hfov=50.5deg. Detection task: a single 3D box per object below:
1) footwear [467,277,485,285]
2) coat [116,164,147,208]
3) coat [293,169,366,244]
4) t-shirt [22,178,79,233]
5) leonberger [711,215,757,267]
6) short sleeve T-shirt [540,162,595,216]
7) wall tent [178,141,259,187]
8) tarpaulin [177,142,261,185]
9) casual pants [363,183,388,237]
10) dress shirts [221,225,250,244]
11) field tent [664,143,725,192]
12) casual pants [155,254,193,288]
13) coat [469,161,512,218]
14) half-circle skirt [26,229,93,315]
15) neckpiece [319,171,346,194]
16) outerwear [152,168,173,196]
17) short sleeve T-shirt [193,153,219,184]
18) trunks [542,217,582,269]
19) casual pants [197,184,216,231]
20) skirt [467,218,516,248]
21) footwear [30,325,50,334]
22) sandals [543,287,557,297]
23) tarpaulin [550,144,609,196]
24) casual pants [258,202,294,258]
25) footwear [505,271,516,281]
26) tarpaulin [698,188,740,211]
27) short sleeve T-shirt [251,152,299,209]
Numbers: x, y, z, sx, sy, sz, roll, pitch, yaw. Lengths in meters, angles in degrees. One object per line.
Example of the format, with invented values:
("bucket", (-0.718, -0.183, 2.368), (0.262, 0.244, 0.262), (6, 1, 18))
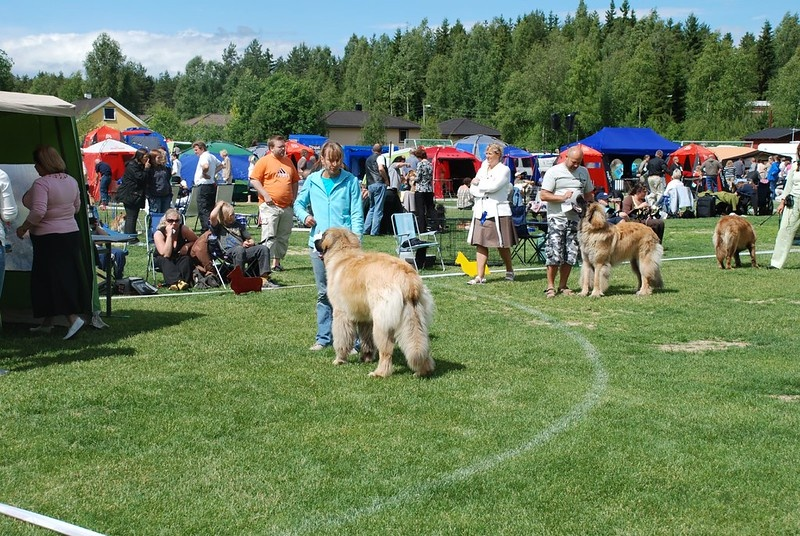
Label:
("footwear", (1.290, 0.229, 14.597), (0.336, 0.141, 0.123), (3, -3, -22))
("coat", (-5.704, -1.748, 18.114), (0.608, 1.012, 0.442), (-4, 14, -22))
("coat", (-0.873, -0.683, 10.393), (0.925, 0.937, 0.540), (0, 10, 6))
("t-shirt", (-4.301, -0.792, 10.467), (0.454, 0.754, 0.847), (3, 11, 16))
("leonberger", (6.551, -0.486, 16.490), (0.467, 0.973, 1.872), (3, 5, 38))
("short sleeve T-shirt", (2.595, -1.215, 13.312), (0.776, 0.847, 0.448), (2, 13, 4))
("wall tent", (-6.975, -4.503, 34.654), (3.360, 1.503, 3.535), (-1, 7, 1))
("tarpaulin", (-7.160, -4.557, 33.725), (2.712, 0.916, 2.558), (38, 23, 31))
("casual pants", (-0.630, -1.475, 20.881), (0.497, 1.324, 0.390), (1, -1, 36))
("dress shirts", (-2.819, -0.559, 14.416), (0.287, 0.280, 0.156), (1, -35, -39))
("field tent", (13.723, -5.173, 39.981), (2.473, 1.663, 2.598), (-13, 18, -2))
("casual pants", (-3.715, 0.062, 13.897), (0.618, 0.480, 0.494), (-1, 14, -8))
("coat", (1.460, -1.272, 13.854), (0.674, 0.959, 0.429), (11, 17, 37))
("half-circle skirt", (-4.353, 0.000, 10.624), (0.756, 1.077, 0.648), (0, 0, -1))
("neckpiece", (-0.862, -1.022, 10.256), (0.174, 0.186, 0.238), (2, -9, -5))
("outerwear", (-5.204, -1.870, 18.565), (0.155, 0.646, 0.496), (9, 15, 30))
("short sleeve T-shirt", (-4.340, -2.224, 19.148), (0.317, 0.524, 0.573), (2, 10, -28))
("trunks", (2.564, -0.440, 13.500), (0.542, 0.755, 0.407), (-4, 6, 1))
("casual pants", (-4.267, -1.315, 18.623), (0.324, 1.021, 0.501), (-3, -4, 10))
("skirt", (1.506, -0.553, 13.971), (0.737, 0.732, 0.459), (1, -2, 11))
("footwear", (-4.620, 0.808, 10.945), (0.302, 0.127, 0.110), (5, 2, 19))
("sandals", (2.400, 0.399, 13.649), (0.150, 0.112, 0.384), (-4, 1, 4))
("tarpaulin", (8.372, -4.459, 37.398), (2.921, 1.909, 3.323), (-4, 10, 11))
("casual pants", (-2.173, -0.693, 14.907), (0.582, 1.118, 0.378), (-2, 11, -37))
("footwear", (1.927, 0.147, 14.957), (0.136, 0.167, 0.414), (-1, -3, 13))
("tarpaulin", (9.999, -2.099, 26.397), (0.952, 0.358, 0.646), (10, 12, 38))
("short sleeve T-shirt", (-2.100, -1.541, 14.739), (0.874, 0.932, 0.500), (-9, 16, -40))
